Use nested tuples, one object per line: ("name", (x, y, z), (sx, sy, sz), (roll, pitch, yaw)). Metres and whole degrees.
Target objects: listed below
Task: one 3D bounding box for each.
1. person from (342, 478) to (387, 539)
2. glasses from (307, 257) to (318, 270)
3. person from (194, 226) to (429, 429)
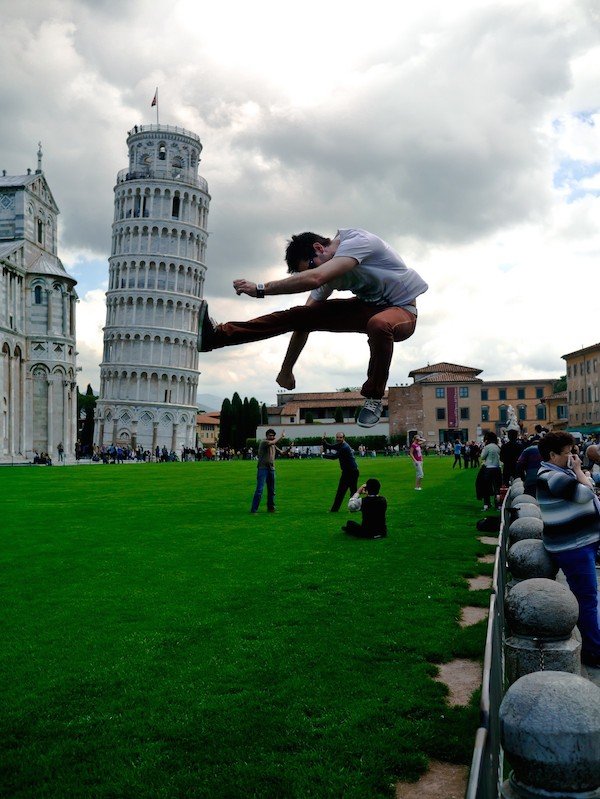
("person", (1.415, 2.161, 14.753), (0.902, 1.035, 0.723), (2, -3, -31))
("glasses", (0.079, -0.894, 4.872), (0.079, 0.069, 0.088), (-1, 4, 2))
("person", (0.123, -0.652, 5.076), (1.611, 1.099, 1.012), (0, -4, -13))
